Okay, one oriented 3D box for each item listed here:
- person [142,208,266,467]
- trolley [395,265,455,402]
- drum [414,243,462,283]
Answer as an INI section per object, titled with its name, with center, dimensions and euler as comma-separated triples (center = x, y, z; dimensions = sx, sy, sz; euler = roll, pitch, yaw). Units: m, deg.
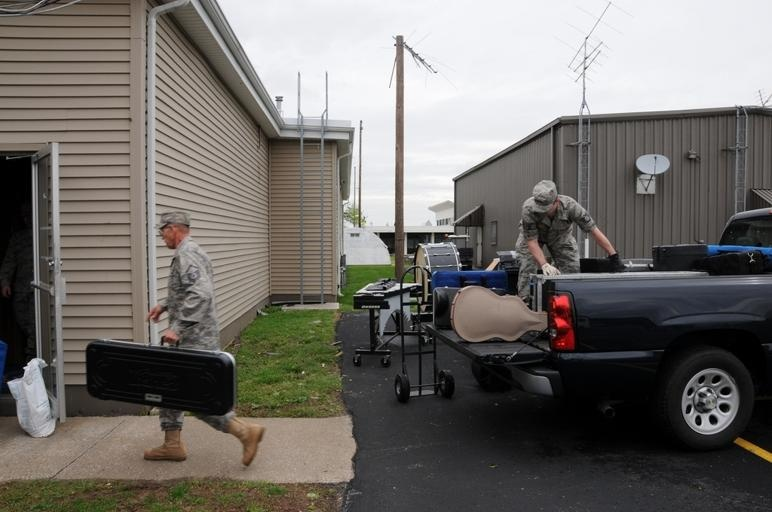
[person]
center = -2.014, 0.887, 7.633
dimensions = 1.424, 2.597, 1.029
euler = 0, 0, -4
[trolley]
center = 0.480, 1.074, 9.131
dimensions = 0.807, 1.772, 0.499
euler = -1, 2, -21
[drum]
center = 1.060, 0.335, 13.997
dimensions = 0.842, 1.173, 1.234
euler = -2, -3, -3
